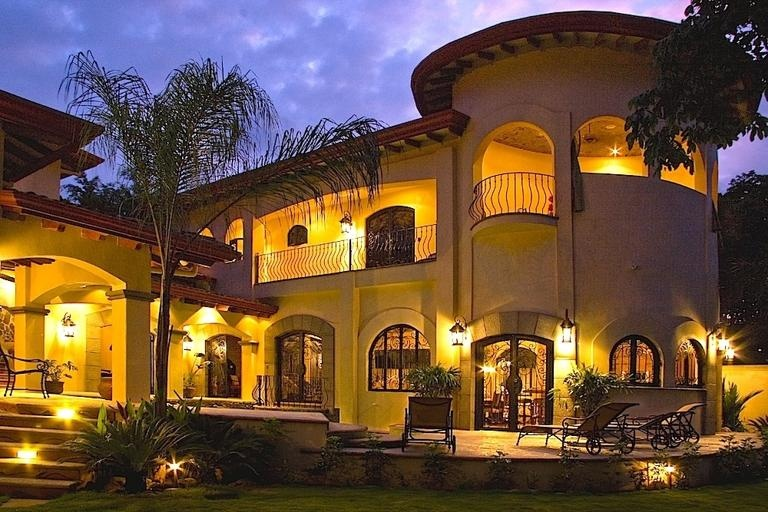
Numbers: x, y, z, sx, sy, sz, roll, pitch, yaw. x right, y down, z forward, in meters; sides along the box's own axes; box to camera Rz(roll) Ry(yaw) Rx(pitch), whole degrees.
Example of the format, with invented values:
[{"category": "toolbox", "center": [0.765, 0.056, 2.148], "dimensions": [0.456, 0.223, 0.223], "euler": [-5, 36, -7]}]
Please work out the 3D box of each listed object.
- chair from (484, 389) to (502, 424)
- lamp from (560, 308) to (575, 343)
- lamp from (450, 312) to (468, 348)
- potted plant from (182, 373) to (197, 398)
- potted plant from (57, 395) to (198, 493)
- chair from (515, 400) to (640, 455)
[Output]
[{"category": "chair", "center": [3.351, 4.426, 24.535], "dimensions": [0.559, 0.836, 0.635], "euler": [-10, -36, 29]}, {"category": "lamp", "center": [5.200, 1.995, 23.288], "dimensions": [0.415, 0.966, 0.295], "euler": [-1, -17, 9]}, {"category": "lamp", "center": [2.228, 2.233, 24.587], "dimensions": [0.396, 0.933, 0.469], "euler": [12, -20, -31]}, {"category": "potted plant", "center": [-6.834, 4.637, 29.134], "dimensions": [0.780, 0.960, 0.839], "euler": [0, -5, -15]}, {"category": "potted plant", "center": [-5.203, 3.965, 17.530], "dimensions": [1.793, 1.369, 1.875], "euler": [1, -9, -3]}, {"category": "chair", "center": [4.819, 4.395, 20.357], "dimensions": [2.381, 1.277, 2.961], "euler": [-2, -18, 10]}]
